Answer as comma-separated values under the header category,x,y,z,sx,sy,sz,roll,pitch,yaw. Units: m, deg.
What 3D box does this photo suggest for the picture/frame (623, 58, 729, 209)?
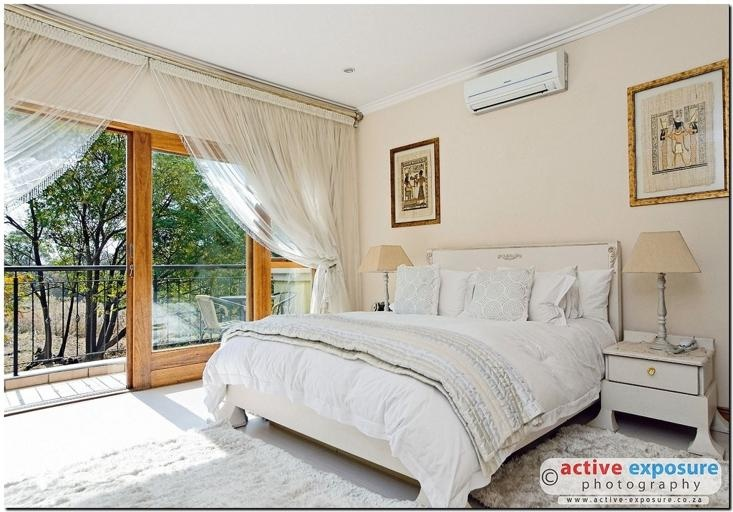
category,x,y,z,sx,sy,sz,roll,pitch,yaw
picture/frame,2.617,-1.014,3.797,0.752,1.175,0.257,4,12,28

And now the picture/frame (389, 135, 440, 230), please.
category,x,y,z,sx,sy,sz,roll,pitch,yaw
picture/frame,0.579,-0.867,5.375,0.767,1.035,0.165,7,13,39

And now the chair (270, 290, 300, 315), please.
category,x,y,z,sx,sy,sz,roll,pitch,yaw
chair,-0.974,0.556,5.384,0.254,0.336,0.274,3,-5,-18

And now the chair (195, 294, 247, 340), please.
category,x,y,z,sx,sy,sz,roll,pitch,yaw
chair,-1.650,0.643,5.046,0.425,0.628,0.457,1,5,42

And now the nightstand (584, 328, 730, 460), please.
category,x,y,z,sx,sy,sz,roll,pitch,yaw
nightstand,2.312,0.837,3.577,1.139,0.843,0.661,-3,-6,38
